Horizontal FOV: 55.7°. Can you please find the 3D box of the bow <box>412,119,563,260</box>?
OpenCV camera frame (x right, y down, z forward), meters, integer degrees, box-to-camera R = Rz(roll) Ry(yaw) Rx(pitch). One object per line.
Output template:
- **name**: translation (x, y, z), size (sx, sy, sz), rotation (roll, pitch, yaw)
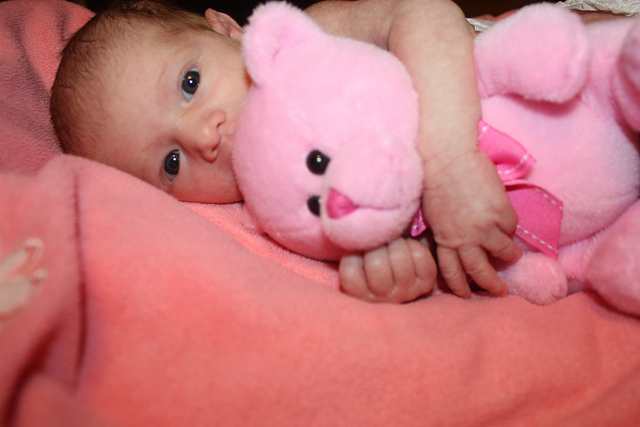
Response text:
- **bow**: translation (0.347, -0.019, 1.193), size (0.261, 0.092, 0.323), rotation (15, 78, 33)
